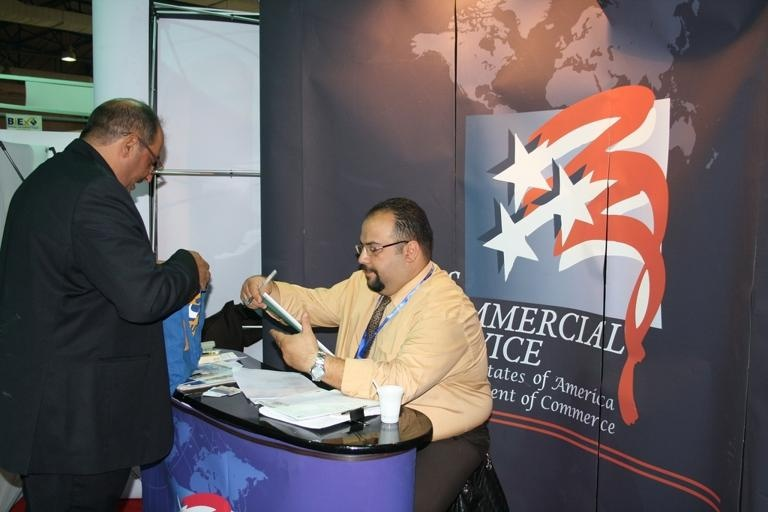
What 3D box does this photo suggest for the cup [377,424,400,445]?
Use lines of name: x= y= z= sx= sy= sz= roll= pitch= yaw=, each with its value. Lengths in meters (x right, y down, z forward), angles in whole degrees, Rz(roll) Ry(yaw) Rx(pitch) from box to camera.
cup: x=0.017 y=0.737 z=2.715 sx=0.083 sy=0.078 sz=0.123 roll=3 pitch=-1 yaw=1

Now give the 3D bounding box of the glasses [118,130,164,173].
glasses: x=-1.097 y=-0.478 z=2.922 sx=0.158 sy=0.051 sz=0.163 roll=26 pitch=-1 yaw=19
